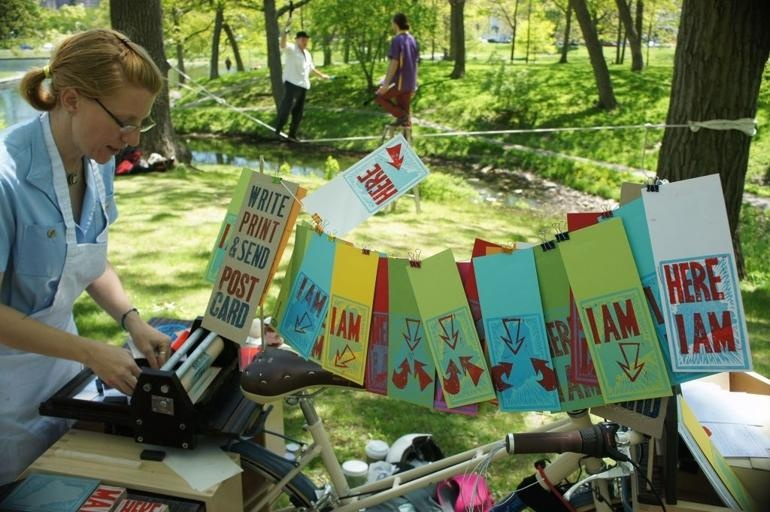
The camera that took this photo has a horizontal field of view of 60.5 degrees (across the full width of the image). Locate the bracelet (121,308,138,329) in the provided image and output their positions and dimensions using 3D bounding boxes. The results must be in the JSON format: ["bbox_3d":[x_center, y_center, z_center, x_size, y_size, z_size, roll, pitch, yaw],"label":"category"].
[{"bbox_3d":[-1.353,0.349,3.580,0.098,0.110,0.042,-6,-39,44],"label":"bracelet"}]

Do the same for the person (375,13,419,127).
[{"bbox_3d":[0.174,-2.643,9.379,0.554,1.669,1.444,3,8,0],"label":"person"}]

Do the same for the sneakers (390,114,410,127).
[{"bbox_3d":[0.202,-1.814,9.006,0.184,0.171,0.369,-30,26,-26],"label":"sneakers"}]

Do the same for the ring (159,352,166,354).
[{"bbox_3d":[-1.149,0.502,3.421,0.031,0.014,0.010,-8,-8,27],"label":"ring"}]

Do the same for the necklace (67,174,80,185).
[{"bbox_3d":[-1.566,-0.386,3.323,0.032,0.046,0.012,1,-9,-8],"label":"necklace"}]
